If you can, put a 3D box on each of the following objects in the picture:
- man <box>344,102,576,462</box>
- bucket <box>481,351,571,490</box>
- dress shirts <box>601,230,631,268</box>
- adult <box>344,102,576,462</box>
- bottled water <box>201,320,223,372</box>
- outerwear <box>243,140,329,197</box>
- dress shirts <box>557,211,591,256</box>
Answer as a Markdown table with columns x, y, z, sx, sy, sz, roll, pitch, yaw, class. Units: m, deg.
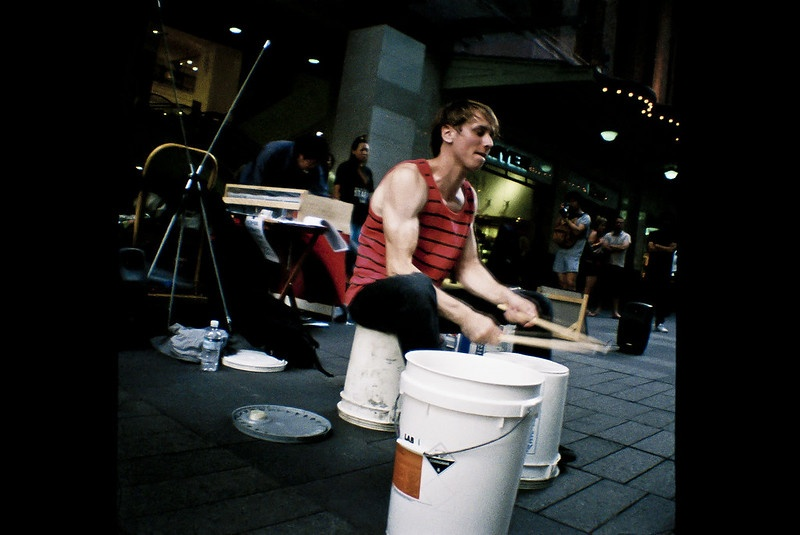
| x | y | z | sx | sy | sz | roll | pitch | yaw | class |
| --- | --- | --- | --- | --- | --- | --- | --- | --- | --- |
| 0.343 | 0.018 | 3.642 | 1.158 | 1.657 | 1.053 | 6 | 0 | -29 | man |
| 0.645 | 0.690 | 3.263 | 0.535 | 0.534 | 0.565 | 3 | 1 | 0 | bucket |
| 2.769 | -0.240 | 8.905 | 0.351 | 0.432 | 0.260 | 2 | 9 | 18 | dress shirts |
| 0.331 | 0.021 | 3.651 | 1.096 | 1.646 | 1.061 | 7 | -1 | -33 | adult |
| -1.136 | 0.457 | 4.226 | 0.130 | 0.270 | 0.298 | 7 | 9 | -14 | bottled water |
| -0.973 | -0.914 | 5.994 | 0.790 | 0.490 | 0.411 | 9 | 9 | 3 | outerwear |
| 2.181 | -0.431 | 8.740 | 0.295 | 0.488 | 0.446 | 3 | 17 | -22 | dress shirts |
